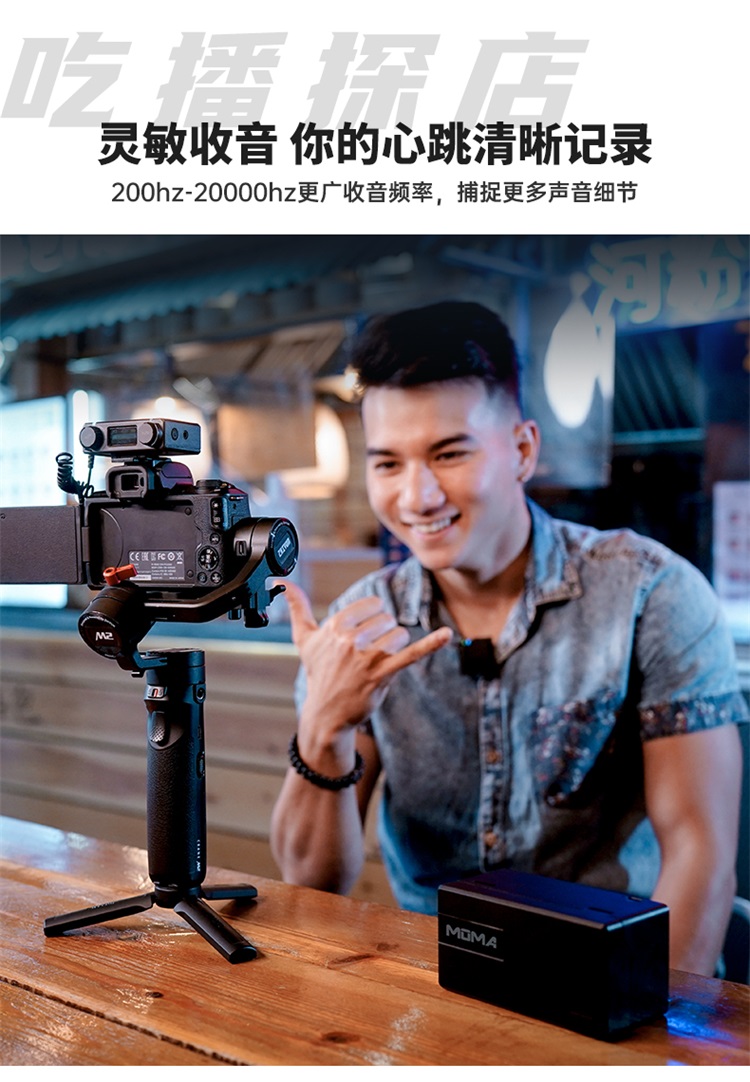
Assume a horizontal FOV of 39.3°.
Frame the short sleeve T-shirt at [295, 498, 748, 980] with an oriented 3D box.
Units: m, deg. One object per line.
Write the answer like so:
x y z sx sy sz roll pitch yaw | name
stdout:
0.256 0.298 1.629 0.734 0.567 0.313 -7 -1 29 | short sleeve T-shirt

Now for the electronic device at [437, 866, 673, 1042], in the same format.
0.197 0.367 1.108 0.240 0.120 0.131 3 3 42 | electronic device

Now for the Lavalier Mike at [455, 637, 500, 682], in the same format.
0.175 0.196 1.768 0.072 0.064 0.017 6 6 30 | Lavalier Mike
